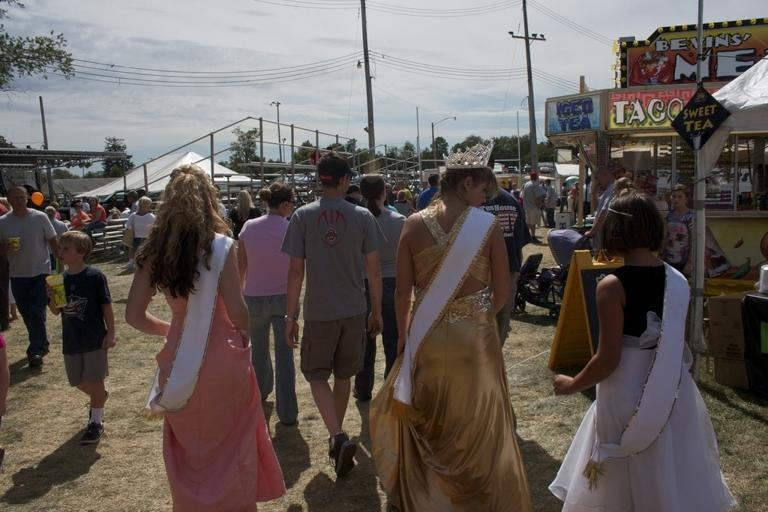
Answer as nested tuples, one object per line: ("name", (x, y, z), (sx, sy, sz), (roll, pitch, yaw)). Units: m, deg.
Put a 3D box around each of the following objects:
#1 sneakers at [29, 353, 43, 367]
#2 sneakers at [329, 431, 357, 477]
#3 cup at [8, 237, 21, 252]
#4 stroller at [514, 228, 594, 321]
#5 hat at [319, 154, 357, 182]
("sneakers", (-4.402, 1.303, 8.312), (0.080, 0.236, 0.100), (3, 41, -35))
("sneakers", (-0.392, 1.817, 6.042), (0.196, 0.460, 0.260), (-10, 37, -18))
("cup", (-4.493, -0.143, 8.041), (0.140, 0.171, 0.150), (-2, -5, 0))
("stroller", (2.458, 0.292, 10.122), (1.318, 1.887, 1.216), (4, 3, 28))
("hat", (-0.472, -0.820, 6.149), (0.203, 0.155, 0.297), (7, 44, 8))
